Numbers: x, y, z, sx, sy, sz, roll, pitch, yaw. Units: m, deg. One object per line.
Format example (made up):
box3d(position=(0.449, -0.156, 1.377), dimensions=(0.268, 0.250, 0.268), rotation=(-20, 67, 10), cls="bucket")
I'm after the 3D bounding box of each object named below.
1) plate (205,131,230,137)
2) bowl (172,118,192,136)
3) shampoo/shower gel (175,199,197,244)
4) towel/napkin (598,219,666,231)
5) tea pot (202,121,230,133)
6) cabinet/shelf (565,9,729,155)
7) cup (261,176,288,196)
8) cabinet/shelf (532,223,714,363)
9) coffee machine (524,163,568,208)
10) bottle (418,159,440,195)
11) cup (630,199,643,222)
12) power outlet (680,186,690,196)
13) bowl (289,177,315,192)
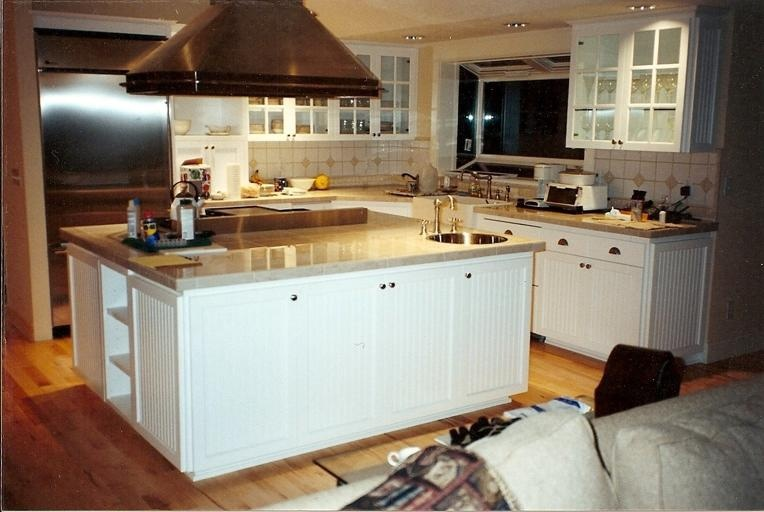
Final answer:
box3d(position=(-1.617, -1.200, 5.647), dimensions=(0.216, 0.048, 0.209), rotation=(-4, 11, -16), cls="plate")
box3d(position=(-1.916, -1.221, 5.467), dimensions=(0.249, 0.135, 0.230), rotation=(-1, 4, 0), cls="bowl")
box3d(position=(-1.185, -0.192, 3.442), dimensions=(0.099, 0.213, 0.110), rotation=(-5, 12, -16), cls="shampoo/shower gel")
box3d(position=(1.873, -0.233, 4.296), dimensions=(0.474, 0.037, 0.302), rotation=(6, 13, 34), cls="towel/napkin")
box3d(position=(-1.660, -1.274, 5.773), dimensions=(0.203, 0.067, 0.154), rotation=(-1, 5, -15), cls="tea pot")
box3d(position=(2.106, -1.360, 4.594), dimensions=(0.471, 1.019, 1.266), rotation=(-13, 20, -24), cls="cabinet/shelf")
box3d(position=(-1.171, -0.747, 6.142), dimensions=(0.289, 0.100, 0.204), rotation=(-9, 18, -40), cls="cup")
box3d(position=(1.970, 0.295, 4.766), dimensions=(0.770, 1.011, 1.221), rotation=(-2, 6, -27), cls="cabinet/shelf")
box3d(position=(1.595, -0.643, 5.246), dimensions=(0.332, 0.473, 0.301), rotation=(10, 5, 39), cls="coffee machine")
box3d(position=(0.508, -0.902, 6.371), dimensions=(0.301, 0.407, 0.289), rotation=(-1, 11, 0), cls="bottle")
box3d(position=(1.988, -0.346, 4.464), dimensions=(0.074, 0.145, 0.206), rotation=(3, 12, 18), cls="cup")
box3d(position=(2.376, -0.506, 4.469), dimensions=(0.072, 0.059, 0.039), rotation=(18, 27, 41), cls="power outlet")
box3d(position=(-0.900, -0.771, 6.261), dimensions=(0.254, 0.134, 0.396), rotation=(2, 11, 13), cls="bowl")
